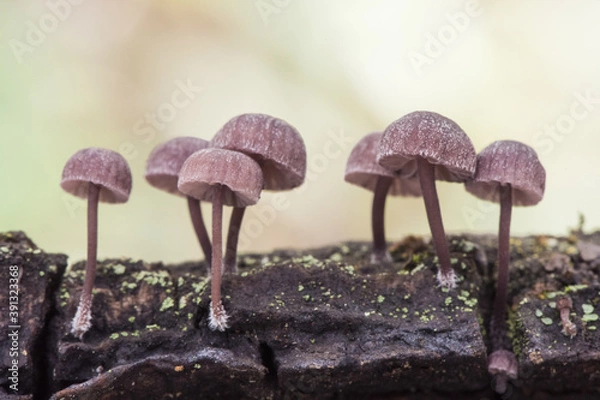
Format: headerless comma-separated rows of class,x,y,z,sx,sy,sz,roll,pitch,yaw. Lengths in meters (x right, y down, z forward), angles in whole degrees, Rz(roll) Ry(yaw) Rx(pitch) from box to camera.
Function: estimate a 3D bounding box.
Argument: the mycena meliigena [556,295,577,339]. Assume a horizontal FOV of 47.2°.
mycena meliigena,2.627,1.167,6.768,0.149,0.425,0.141,0,-42,15
